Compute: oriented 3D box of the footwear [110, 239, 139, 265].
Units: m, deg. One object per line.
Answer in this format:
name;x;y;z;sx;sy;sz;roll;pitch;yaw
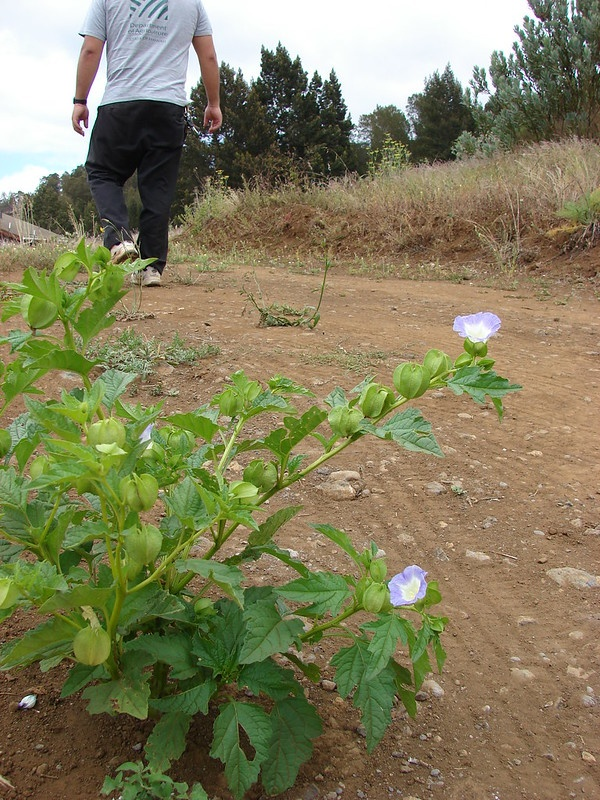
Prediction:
footwear;-1.328;-1.130;4.111;0.185;0.169;0.382;-4;12;-15
